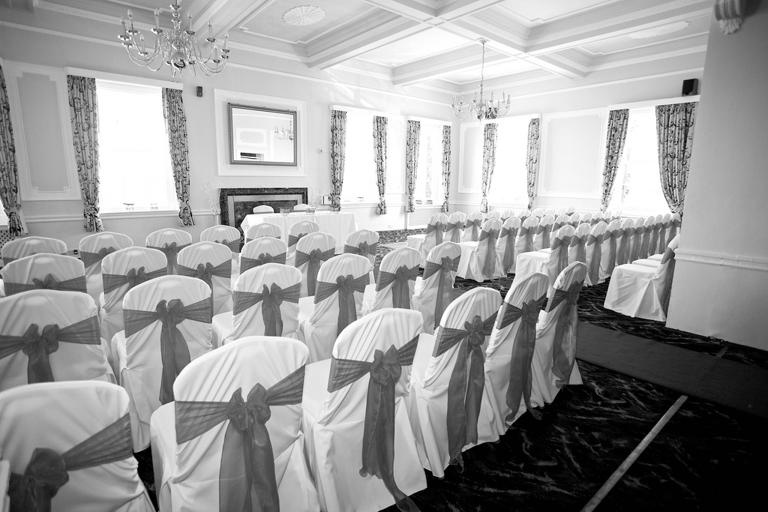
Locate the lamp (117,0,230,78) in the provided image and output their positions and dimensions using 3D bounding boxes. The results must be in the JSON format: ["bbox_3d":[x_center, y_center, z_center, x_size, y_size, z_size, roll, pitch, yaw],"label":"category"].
[{"bbox_3d":[-3.263,-3.321,7.430,1.151,1.145,1.191,24,38,27],"label":"lamp"}]

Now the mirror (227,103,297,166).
[{"bbox_3d":[-2.470,-2.416,9.681,1.246,1.124,0.056,-4,7,-39],"label":"mirror"}]
